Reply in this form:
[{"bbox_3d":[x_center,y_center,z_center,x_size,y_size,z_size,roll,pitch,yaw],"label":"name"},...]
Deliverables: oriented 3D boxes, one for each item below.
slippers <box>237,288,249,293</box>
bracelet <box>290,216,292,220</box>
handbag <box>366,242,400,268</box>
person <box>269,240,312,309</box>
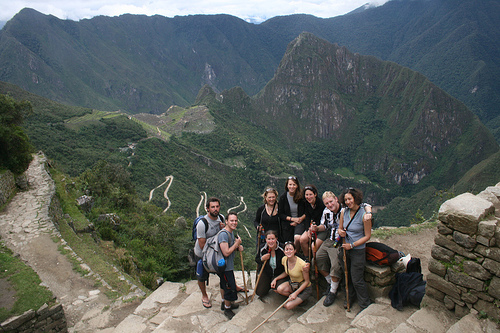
[{"bbox_3d":[-0.321,5.617,16.483,0.580,0.151,0.204,1,22,-4],"label":"slippers"},{"bbox_3d":[1.820,2.321,16.359,0.153,0.129,0.127,7,21,18],"label":"bracelet"},{"bbox_3d":[5.519,3.683,15.313,0.971,0.685,1.182,-2,-1,-39],"label":"handbag"},{"bbox_3d":[1.799,4.650,15.503,1.485,2.798,1.002,11,23,27],"label":"person"}]
